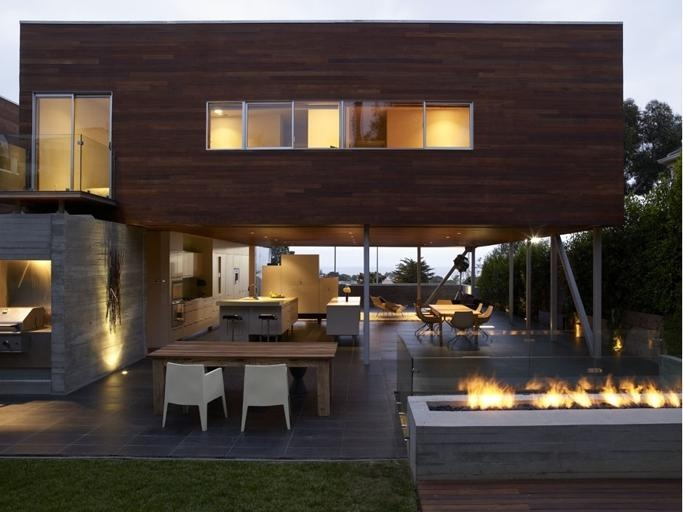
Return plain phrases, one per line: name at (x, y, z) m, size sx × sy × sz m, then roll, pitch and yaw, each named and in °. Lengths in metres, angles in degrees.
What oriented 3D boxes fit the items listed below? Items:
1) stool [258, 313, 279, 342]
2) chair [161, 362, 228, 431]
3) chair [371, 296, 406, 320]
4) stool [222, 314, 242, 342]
stool at (-1.890, 1.818, 16.260) m, size 0.468 × 0.759 × 0.929 m, roll 0°, pitch -1°, yaw -5°
chair at (-2.665, 2.503, 11.595) m, size 1.163 × 1.226 × 1.199 m, roll 5°, pitch -8°, yaw -44°
chair at (1.603, 1.738, 21.836) m, size 1.036 × 0.729 × 2.593 m, roll 0°, pitch -1°, yaw 6°
stool at (-2.751, 1.795, 15.850) m, size 0.536 × 0.962 × 0.292 m, roll 1°, pitch 3°, yaw -2°
